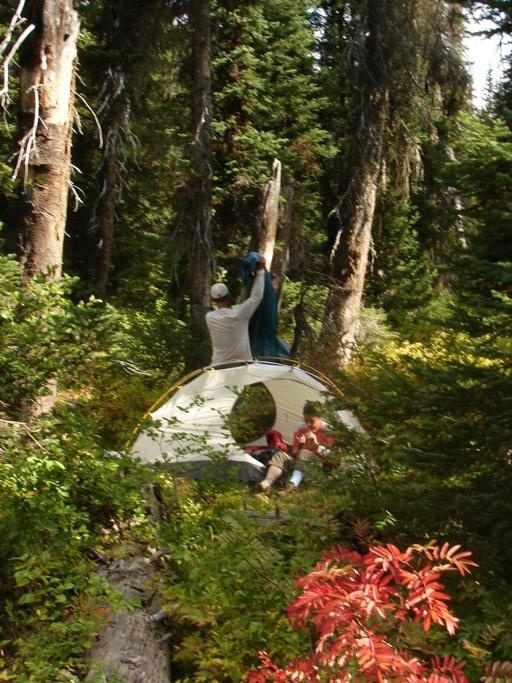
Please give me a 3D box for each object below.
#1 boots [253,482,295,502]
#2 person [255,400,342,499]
[{"bbox_3d":[0.172,1.360,5.814,0.453,0.168,0.138,-11,-4,6],"label":"boots"},{"bbox_3d":[0.425,1.030,6.299,0.504,0.714,1.217,-3,0,29],"label":"person"}]
